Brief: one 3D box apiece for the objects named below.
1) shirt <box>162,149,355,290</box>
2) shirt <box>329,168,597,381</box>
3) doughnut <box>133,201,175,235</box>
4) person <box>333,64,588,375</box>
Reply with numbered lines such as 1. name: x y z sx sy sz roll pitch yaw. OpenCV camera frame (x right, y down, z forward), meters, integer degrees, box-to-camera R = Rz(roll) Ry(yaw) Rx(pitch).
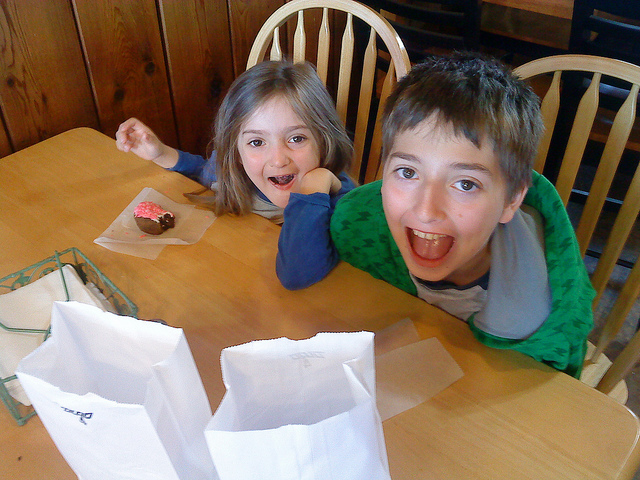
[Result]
1. shirt: -0.140 -0.048 1.188 0.200 0.077 0.331 -30 59 -28
2. shirt: 0.299 0.092 1.196 0.439 0.286 0.588 -20 54 -20
3. doughnut: -0.384 -0.058 1.150 0.082 0.050 0.107 -16 38 -23
4. person: 0.289 -0.044 1.175 0.582 0.754 0.384 6 38 18
